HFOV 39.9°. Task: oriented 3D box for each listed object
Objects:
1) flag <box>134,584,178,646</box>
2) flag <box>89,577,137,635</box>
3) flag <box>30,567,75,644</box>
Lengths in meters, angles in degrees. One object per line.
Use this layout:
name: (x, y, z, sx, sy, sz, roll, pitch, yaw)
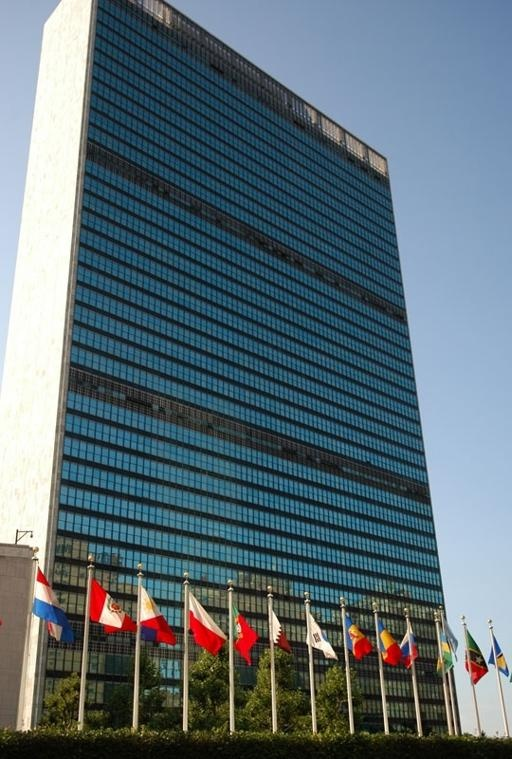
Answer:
flag: (-5.200, 12.084, 36.175, 1.625, 2.902, 4.457, 3, -30, -8)
flag: (-7.083, 11.018, 34.143, 1.961, 2.395, 3.671, 3, -30, -9)
flag: (-9.338, 10.105, 32.317, 1.873, 0.579, 5.280, 8, -56, 0)
